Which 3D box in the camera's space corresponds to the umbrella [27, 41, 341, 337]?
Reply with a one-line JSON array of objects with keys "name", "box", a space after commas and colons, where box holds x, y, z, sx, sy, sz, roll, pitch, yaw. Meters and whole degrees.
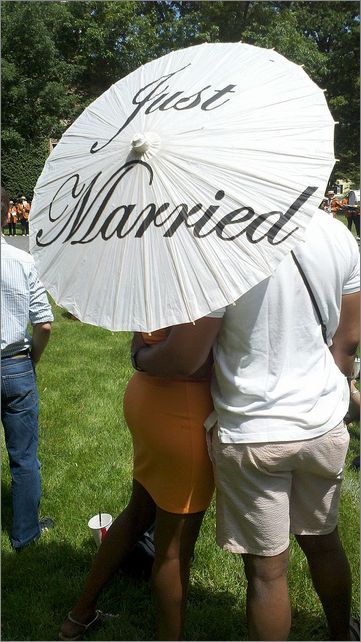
[{"name": "umbrella", "box": [-0.026, -0.445, 1.656, 0.952, 0.790, 0.779, 6, 18, 19]}]

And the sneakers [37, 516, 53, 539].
[{"name": "sneakers", "box": [-0.778, 1.196, 3.159, 0.062, 0.066, 0.146, 4, 29, -12]}]

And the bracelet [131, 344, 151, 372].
[{"name": "bracelet", "box": [-0.135, 0.125, 1.883, 0.053, 0.075, 0.038, -4, 21, -16]}]
